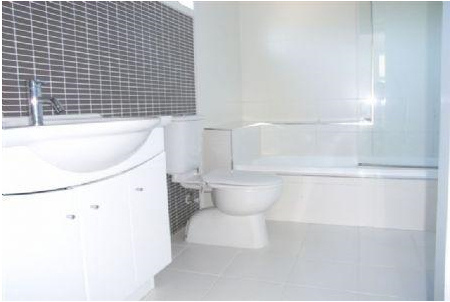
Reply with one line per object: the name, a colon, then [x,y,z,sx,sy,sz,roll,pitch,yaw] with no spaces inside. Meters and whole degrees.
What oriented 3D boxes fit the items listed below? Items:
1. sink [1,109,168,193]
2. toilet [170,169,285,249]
sink: [-0.681,0.010,1.424,0.453,0.208,0.630,2,6,12]
toilet: [0.058,0.486,2.540,0.833,0.476,0.475,-1,-7,23]
